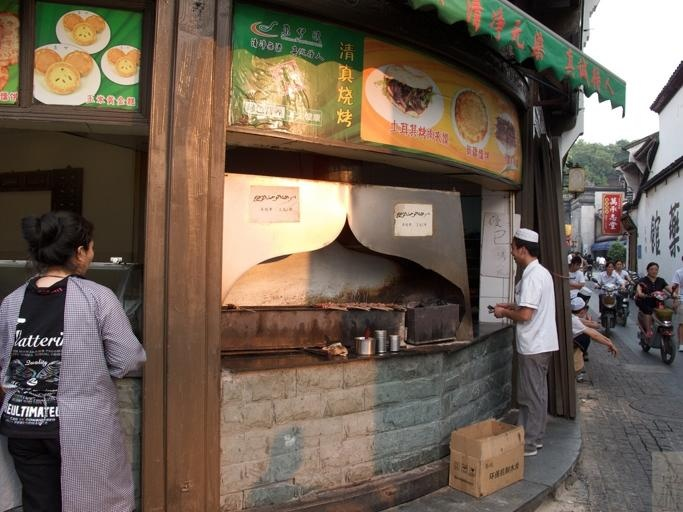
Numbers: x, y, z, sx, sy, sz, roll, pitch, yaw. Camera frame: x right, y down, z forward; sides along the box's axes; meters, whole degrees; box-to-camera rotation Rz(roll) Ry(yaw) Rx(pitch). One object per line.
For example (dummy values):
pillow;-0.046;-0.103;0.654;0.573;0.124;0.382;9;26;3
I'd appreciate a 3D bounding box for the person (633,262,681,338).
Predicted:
person;6.548;0.841;11.529;0.878;1.646;0.806;5;7;23

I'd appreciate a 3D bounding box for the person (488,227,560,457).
person;2.023;0.900;6.082;0.676;2.514;0.394;-1;0;-22

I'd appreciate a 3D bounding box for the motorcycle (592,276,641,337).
motorcycle;7.015;1.266;14.170;0.549;1.419;1.952;0;-1;30

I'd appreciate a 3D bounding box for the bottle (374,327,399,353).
bottle;0.445;0.809;5.391;0.226;0.214;0.432;-2;0;6

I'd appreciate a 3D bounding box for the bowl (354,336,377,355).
bowl;0.218;0.839;5.244;0.197;0.169;0.195;-2;0;0

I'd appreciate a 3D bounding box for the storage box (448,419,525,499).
storage box;1.404;1.913;5.376;0.715;0.514;0.412;1;0;-42

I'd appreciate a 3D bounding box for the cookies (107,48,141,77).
cookies;-1.748;-1.573;4.510;0.227;0.243;0.063;19;0;-8
